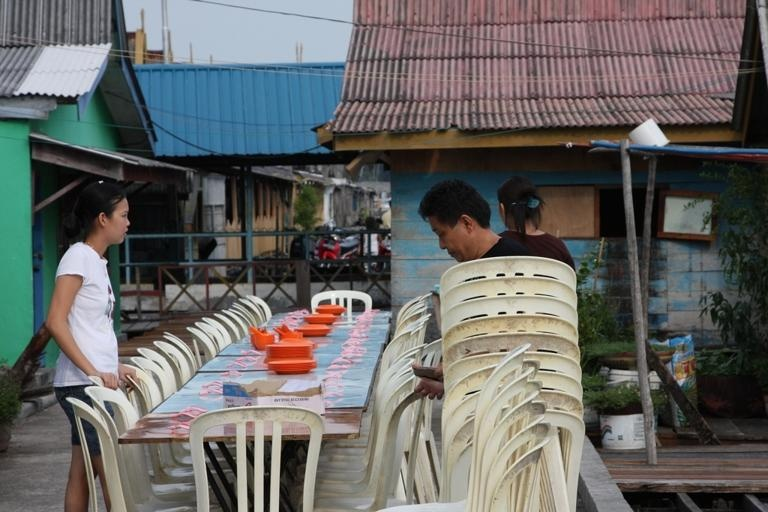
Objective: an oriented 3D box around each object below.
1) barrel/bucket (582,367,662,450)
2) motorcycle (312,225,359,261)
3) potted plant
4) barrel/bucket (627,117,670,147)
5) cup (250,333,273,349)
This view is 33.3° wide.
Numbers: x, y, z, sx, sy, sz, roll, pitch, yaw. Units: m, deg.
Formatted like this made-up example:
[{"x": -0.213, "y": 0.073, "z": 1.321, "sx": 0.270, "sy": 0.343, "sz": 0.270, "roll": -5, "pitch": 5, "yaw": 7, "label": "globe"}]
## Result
[{"x": 2.870, "y": 1.878, "z": 15.835, "sx": 0.883, "sy": 1.024, "sz": 0.821, "roll": 0, "pitch": -14, "yaw": 0, "label": "barrel/bucket"}, {"x": -1.084, "y": -0.228, "z": 28.057, "sx": 0.782, "sy": 0.475, "sz": 1.112, "roll": 2, "pitch": 1, "yaw": 5, "label": "motorcycle"}, {"x": 2.931, "y": 1.969, "z": 15.526, "sx": 0.724, "sy": 0.746, "sz": 0.719, "roll": 1, "pitch": -14, "yaw": -6, "label": "potted plant"}, {"x": 3.070, "y": -1.424, "z": 14.941, "sx": 0.413, "sy": 0.369, "sz": 0.477, "roll": 0, "pitch": -4, "yaw": 12, "label": "barrel/bucket"}, {"x": -1.382, "y": 0.948, "z": 14.408, "sx": 0.238, "sy": 0.194, "sz": 0.149, "roll": -1, "pitch": -1, "yaw": 45, "label": "cup"}]
